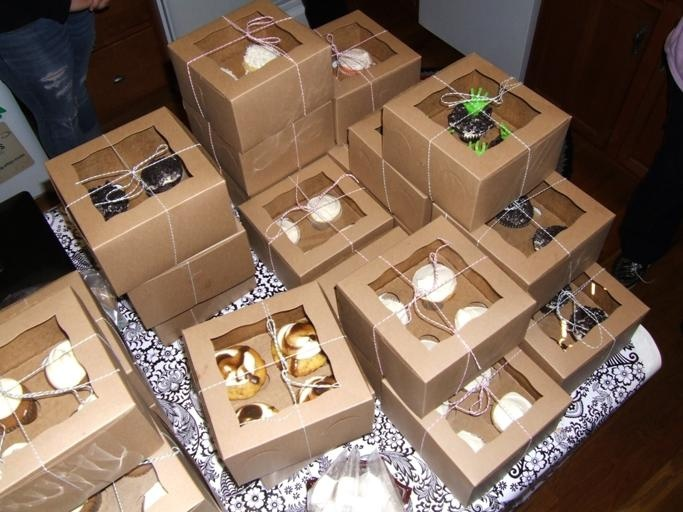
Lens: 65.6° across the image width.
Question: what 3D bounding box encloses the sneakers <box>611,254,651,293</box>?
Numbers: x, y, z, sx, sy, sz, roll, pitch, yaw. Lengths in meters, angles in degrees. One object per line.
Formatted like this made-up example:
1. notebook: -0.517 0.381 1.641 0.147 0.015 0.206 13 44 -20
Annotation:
1. sneakers: 1.225 0.079 2.233 0.156 0.064 0.081 37 89 13
